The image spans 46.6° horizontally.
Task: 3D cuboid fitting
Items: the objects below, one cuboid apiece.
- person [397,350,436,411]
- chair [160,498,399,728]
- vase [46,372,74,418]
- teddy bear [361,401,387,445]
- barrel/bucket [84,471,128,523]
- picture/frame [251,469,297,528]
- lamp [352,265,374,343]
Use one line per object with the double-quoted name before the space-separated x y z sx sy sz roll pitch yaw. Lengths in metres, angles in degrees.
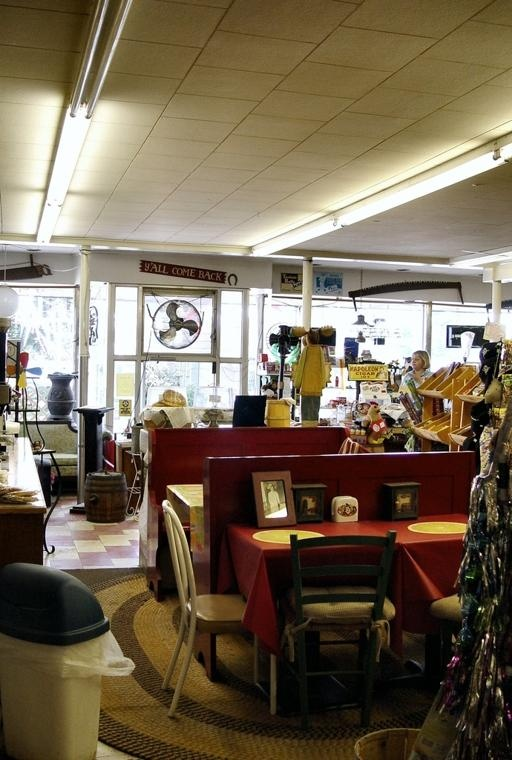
"person" 1.763 -0.038 6.655 0.324 0.684 1.931 0 -3 15
"chair" 0.108 1.044 2.856 1.110 1.016 0.787 -2 3 -10
"vase" -3.127 0.253 9.517 0.375 0.738 0.285 2 -3 -19
"teddy bear" 0.856 0.325 4.351 0.158 0.314 0.466 0 -3 10
"barrel/bucket" -1.727 1.379 7.212 0.542 0.552 0.573 0 3 0
"picture/frame" 0.086 0.614 3.041 0.277 0.336 0.023 4 -20 -34
"lamp" 2.021 -1.464 11.623 0.419 1.387 1.071 0 -3 11
